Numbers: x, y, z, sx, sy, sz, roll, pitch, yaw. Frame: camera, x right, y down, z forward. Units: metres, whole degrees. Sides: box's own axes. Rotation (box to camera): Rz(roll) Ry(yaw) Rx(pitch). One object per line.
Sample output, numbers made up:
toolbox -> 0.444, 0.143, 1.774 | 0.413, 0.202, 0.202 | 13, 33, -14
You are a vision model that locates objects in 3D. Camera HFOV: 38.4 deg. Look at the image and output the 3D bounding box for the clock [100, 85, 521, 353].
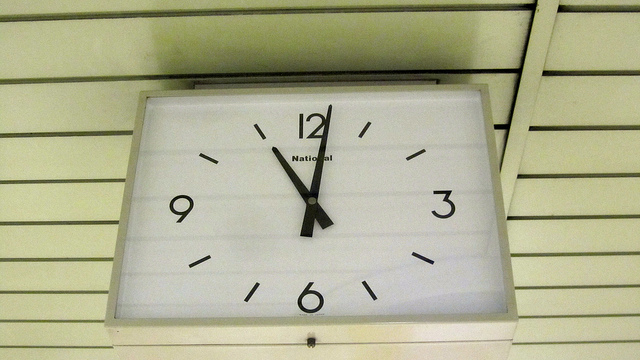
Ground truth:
clock -> -0.040, 0.180, 3.987 | 1.976, 0.352, 1.079 | -1, -105, 2
